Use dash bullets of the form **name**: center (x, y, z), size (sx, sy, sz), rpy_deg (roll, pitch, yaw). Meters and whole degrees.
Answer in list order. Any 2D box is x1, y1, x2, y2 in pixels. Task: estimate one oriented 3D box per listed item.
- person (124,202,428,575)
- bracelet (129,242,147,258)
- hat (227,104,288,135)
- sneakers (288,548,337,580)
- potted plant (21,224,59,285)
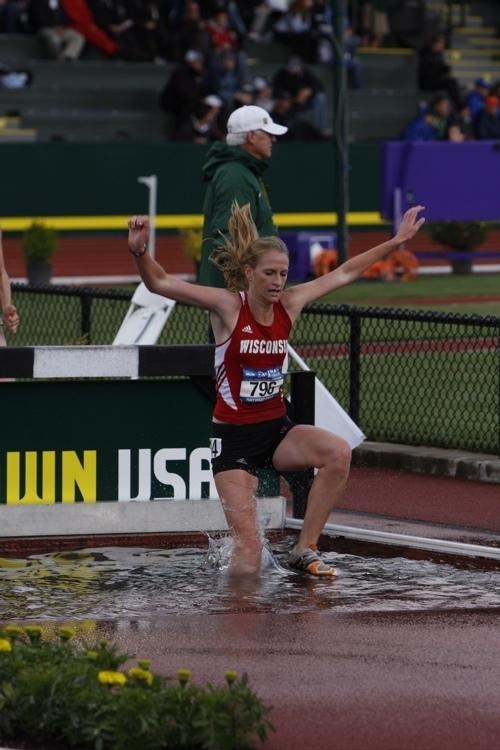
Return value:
- **person**: center (-0.009, 0.136, 4.874), size (0.745, 1.391, 0.784), rpy_deg (7, 9, 23)
- **bracelet**: center (-0.435, -0.481, 4.617), size (0.051, 0.033, 0.064), rpy_deg (-3, -26, 0)
- **hat**: center (0.022, -1.295, 6.064), size (0.277, 0.129, 0.167), rpy_deg (-3, 20, 1)
- **sneakers**: center (0.243, 0.776, 5.001), size (0.087, 0.097, 0.234), rpy_deg (-1, 1, -41)
- **potted plant**: center (-2.906, -1.672, 16.419), size (0.441, 0.814, 0.834), rpy_deg (2, 7, -11)
